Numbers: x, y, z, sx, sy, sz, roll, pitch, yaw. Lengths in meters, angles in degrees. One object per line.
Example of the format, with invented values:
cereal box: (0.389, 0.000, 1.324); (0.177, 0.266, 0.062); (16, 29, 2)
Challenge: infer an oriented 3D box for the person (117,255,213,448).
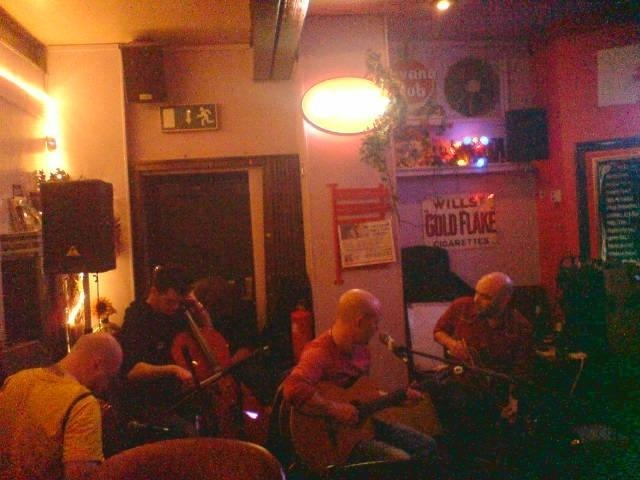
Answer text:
person: (-1.456, 1.009, 5.194); (0.784, 1.524, 0.522); (-5, 2, -16)

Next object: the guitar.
guitar: (0.403, 1.435, 4.683); (1.582, 0.772, 0.230); (-16, -3, -27)

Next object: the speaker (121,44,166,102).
speaker: (-1.822, -1.722, 5.755); (0.531, 0.709, 0.380); (-3, 6, -8)

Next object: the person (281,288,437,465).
person: (0.266, 1.111, 4.479); (1.115, 1.188, 0.323); (-5, 2, -4)
